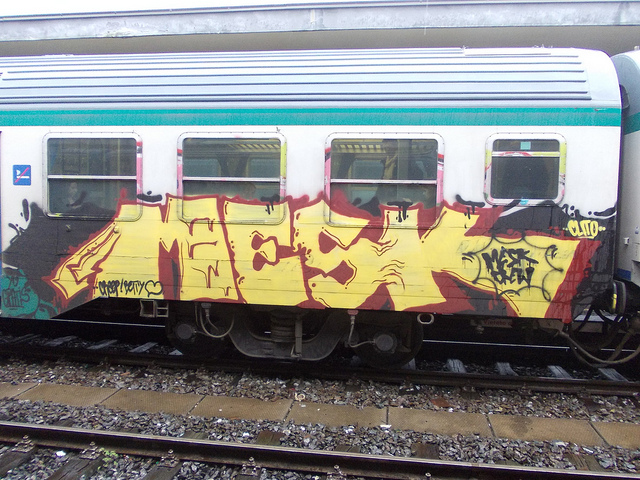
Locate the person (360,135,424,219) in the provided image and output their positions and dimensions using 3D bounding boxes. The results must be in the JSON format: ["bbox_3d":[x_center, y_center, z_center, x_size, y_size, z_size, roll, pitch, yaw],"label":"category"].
[{"bbox_3d":[1.019,-0.942,6.862,0.458,1.415,0.758,-5,40,0],"label":"person"}]
